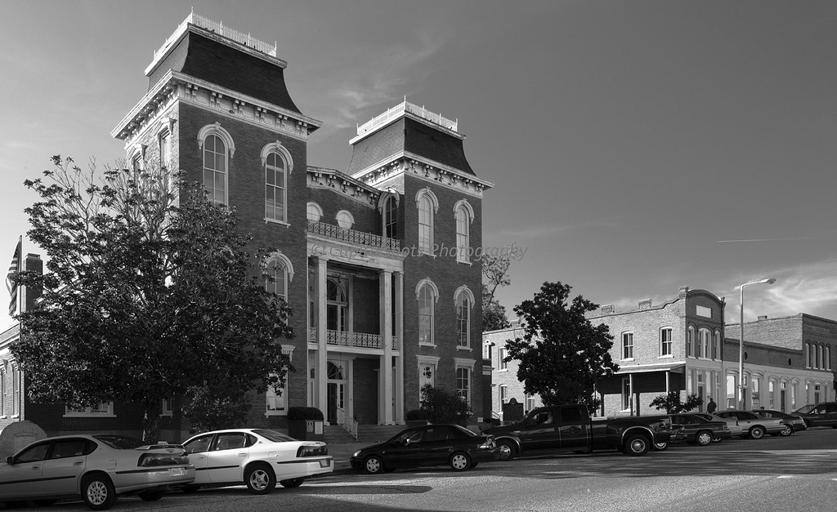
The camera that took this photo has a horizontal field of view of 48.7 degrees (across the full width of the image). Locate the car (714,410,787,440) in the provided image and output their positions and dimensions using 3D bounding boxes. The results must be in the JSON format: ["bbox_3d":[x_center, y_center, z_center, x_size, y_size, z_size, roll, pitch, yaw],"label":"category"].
[{"bbox_3d":[18.604,9.297,51.055,3.983,1.223,1.804,3,-13,-2],"label":"car"}]

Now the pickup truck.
[{"bbox_3d":[7.450,8.308,43.213,9.276,3.114,3.201,0,-7,0],"label":"pickup truck"}]
